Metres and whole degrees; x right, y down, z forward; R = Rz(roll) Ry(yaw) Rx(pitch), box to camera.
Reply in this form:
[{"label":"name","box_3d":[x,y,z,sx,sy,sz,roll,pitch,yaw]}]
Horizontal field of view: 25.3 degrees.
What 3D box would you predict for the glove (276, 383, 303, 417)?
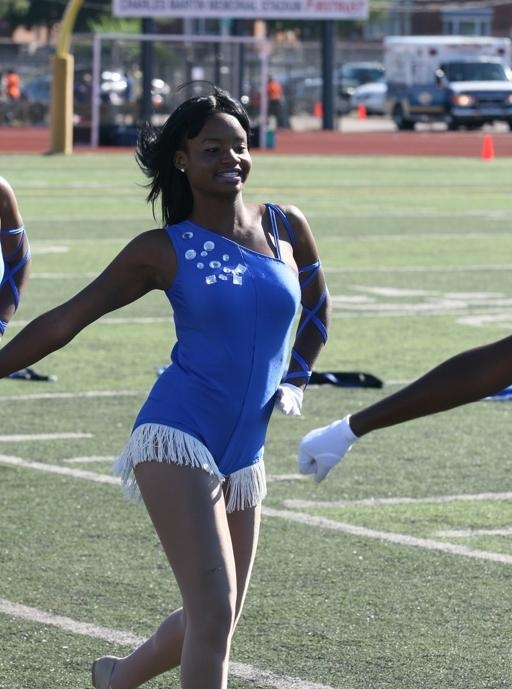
[{"label":"glove","box_3d":[0.081,0.135,2.830,0.079,0.028,0.077,17,37,-10]}]
